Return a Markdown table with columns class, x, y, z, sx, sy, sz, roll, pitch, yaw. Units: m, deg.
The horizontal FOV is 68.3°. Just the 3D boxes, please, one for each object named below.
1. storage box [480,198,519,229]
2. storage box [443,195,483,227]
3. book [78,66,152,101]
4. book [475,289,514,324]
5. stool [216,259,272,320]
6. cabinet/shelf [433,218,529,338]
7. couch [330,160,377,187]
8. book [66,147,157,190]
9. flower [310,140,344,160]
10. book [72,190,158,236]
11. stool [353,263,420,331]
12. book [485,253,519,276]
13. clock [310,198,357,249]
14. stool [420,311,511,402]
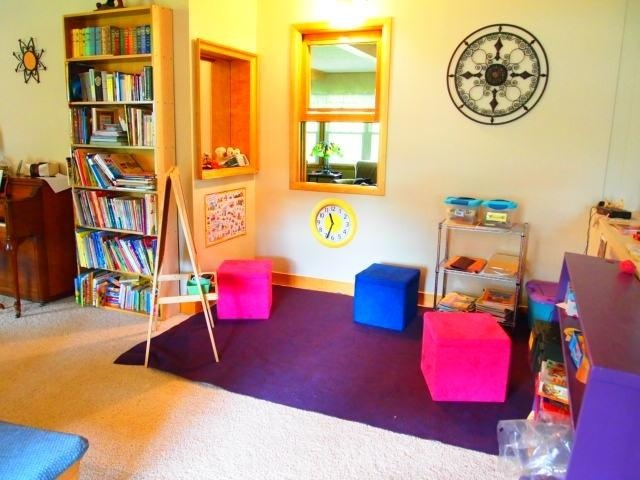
| class | x | y | z | sx | sy | sz | roll | pitch | yaw |
| --- | --- | --- | --- | --- | --- | --- | --- | --- | --- |
| storage box | 1.526 | -0.234 | 4.008 | 0.291 | 0.203 | 0.290 | 6 | 14 | 20 |
| storage box | 1.204 | -0.254 | 3.986 | 0.233 | 0.208 | 0.284 | 6 | 13 | 26 |
| book | -1.713 | -1.297 | 3.959 | 0.809 | 0.268 | 0.141 | 9 | 16 | 31 |
| book | 1.518 | 0.534 | 4.009 | 0.237 | 0.105 | 0.301 | 8 | 14 | 31 |
| stool | -0.637 | 0.412 | 4.207 | 0.447 | 0.431 | 0.463 | 1 | 10 | 9 |
| cabinet/shelf | 1.371 | 0.311 | 3.916 | 0.717 | 0.971 | 0.484 | 8 | 22 | 24 |
| couch | 0.415 | -0.808 | 5.539 | 0.471 | 0.259 | 1.156 | 2 | 13 | 4 |
| book | -1.804 | -0.586 | 4.061 | 0.570 | 0.253 | 0.449 | 2 | 10 | 3 |
| flower | 0.072 | -1.054 | 5.528 | 0.340 | 0.163 | 0.347 | -3 | 11 | -18 |
| book | -1.757 | -0.238 | 4.092 | 0.857 | 0.450 | 0.378 | 8 | 13 | 17 |
| stool | 0.596 | 0.430 | 4.200 | 0.502 | 0.498 | 0.514 | 9 | 21 | 24 |
| book | 1.551 | 0.222 | 3.999 | 0.216 | 0.058 | 0.237 | 9 | 23 | 31 |
| clock | 0.156 | -0.180 | 4.656 | 0.447 | 0.477 | 0.050 | 3 | 7 | 25 |
| stool | 0.976 | 0.791 | 3.302 | 0.516 | 0.495 | 0.533 | -1 | 15 | -2 |
